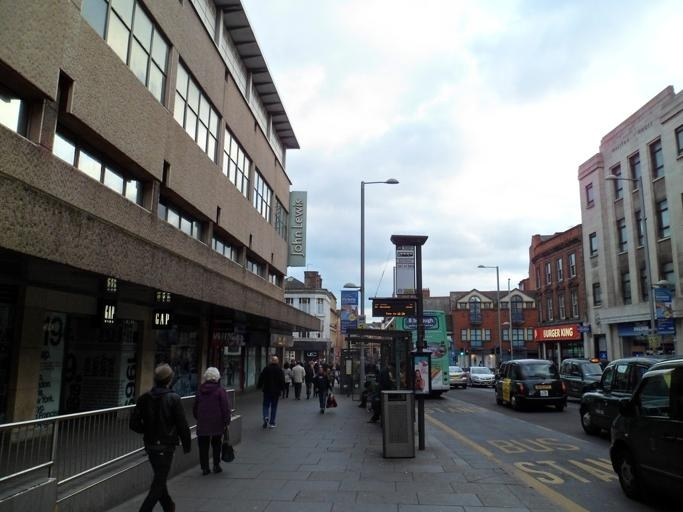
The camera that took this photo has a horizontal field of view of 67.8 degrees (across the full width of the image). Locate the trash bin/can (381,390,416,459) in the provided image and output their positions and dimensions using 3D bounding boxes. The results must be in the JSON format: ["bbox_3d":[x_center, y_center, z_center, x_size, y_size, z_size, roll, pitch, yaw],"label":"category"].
[{"bbox_3d":[1.278,3.735,11.351,0.712,1.442,0.472,-2,-13,1],"label":"trash bin/can"}]

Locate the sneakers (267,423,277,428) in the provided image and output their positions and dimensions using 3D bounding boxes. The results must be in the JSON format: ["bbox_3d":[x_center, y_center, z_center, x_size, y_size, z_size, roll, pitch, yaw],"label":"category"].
[{"bbox_3d":[-2.154,5.254,15.810,0.279,0.218,0.096,3,-4,-21],"label":"sneakers"}]

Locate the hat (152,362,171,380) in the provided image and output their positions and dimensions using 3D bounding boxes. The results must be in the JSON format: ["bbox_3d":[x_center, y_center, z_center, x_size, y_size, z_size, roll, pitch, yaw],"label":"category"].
[{"bbox_3d":[-2.688,1.782,7.737,0.218,0.187,0.329,1,9,-1],"label":"hat"}]

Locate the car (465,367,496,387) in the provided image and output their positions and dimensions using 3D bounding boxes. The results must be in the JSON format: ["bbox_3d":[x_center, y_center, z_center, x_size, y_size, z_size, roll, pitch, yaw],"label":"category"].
[{"bbox_3d":[11.190,9.713,40.910,1.957,1.705,3.445,-5,-16,12],"label":"car"}]

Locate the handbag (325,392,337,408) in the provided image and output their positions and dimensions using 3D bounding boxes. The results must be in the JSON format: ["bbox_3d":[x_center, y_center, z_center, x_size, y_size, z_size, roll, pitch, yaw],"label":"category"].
[{"bbox_3d":[-0.398,5.349,19.008,0.335,0.421,0.812,-1,-16,-4],"label":"handbag"}]

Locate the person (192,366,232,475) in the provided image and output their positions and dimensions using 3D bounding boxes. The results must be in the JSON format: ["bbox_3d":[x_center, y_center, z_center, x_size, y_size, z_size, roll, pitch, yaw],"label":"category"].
[{"bbox_3d":[-2.623,3.292,10.232,0.695,1.994,0.914,3,-14,-17],"label":"person"}]

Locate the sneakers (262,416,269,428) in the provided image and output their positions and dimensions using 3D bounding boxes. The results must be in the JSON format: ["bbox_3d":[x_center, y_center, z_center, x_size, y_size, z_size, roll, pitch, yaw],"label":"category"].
[{"bbox_3d":[-2.319,5.103,15.546,0.158,0.406,0.249,3,0,-4],"label":"sneakers"}]
